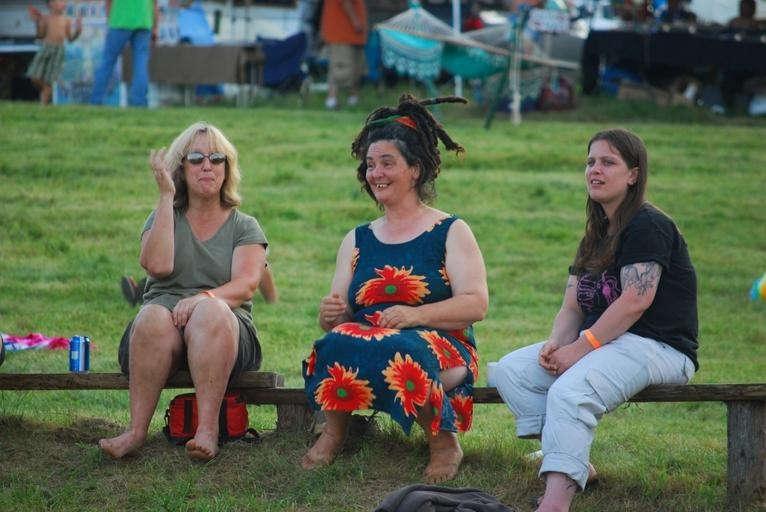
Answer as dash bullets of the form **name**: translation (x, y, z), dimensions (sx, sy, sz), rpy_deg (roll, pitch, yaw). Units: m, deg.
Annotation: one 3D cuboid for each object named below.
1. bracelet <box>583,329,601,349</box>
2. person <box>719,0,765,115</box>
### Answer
- **bracelet**: translation (1.932, 0.822, 17.087), dimensions (0.159, 0.042, 0.157), rpy_deg (51, -5, -24)
- **person**: translation (3.836, -2.189, 19.473), dimensions (0.224, 0.907, 0.493), rpy_deg (1, 6, -2)
